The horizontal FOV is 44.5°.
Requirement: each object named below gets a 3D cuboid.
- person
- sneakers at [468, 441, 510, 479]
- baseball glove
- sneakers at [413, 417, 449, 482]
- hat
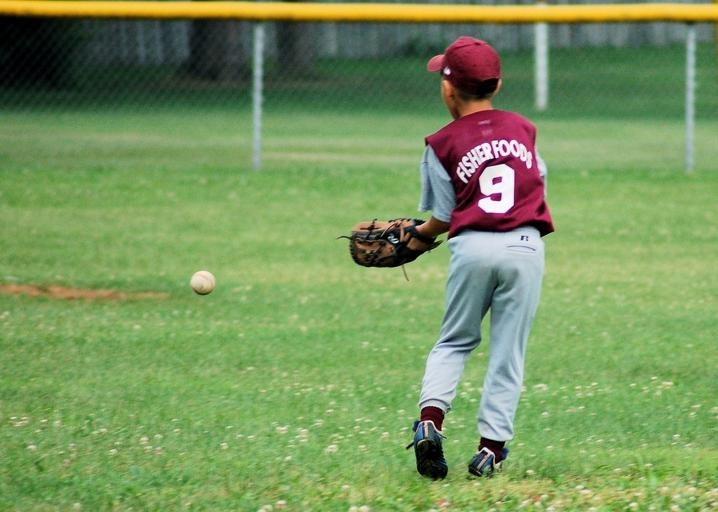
[{"bbox_3d":[0.638,0.193,5.074,0.818,2.053,0.737,-1,5,-12],"label":"person"},{"bbox_3d":[0.724,1.113,4.912,0.118,0.129,0.302,33,24,18],"label":"sneakers"},{"bbox_3d":[0.179,-0.078,5.302,0.545,0.336,0.260,12,28,19],"label":"baseball glove"},{"bbox_3d":[0.382,1.062,4.775,0.179,0.321,0.110,1,5,2],"label":"sneakers"},{"bbox_3d":[0.610,-1.112,4.936,0.315,0.227,0.418,-22,51,-28],"label":"hat"}]
